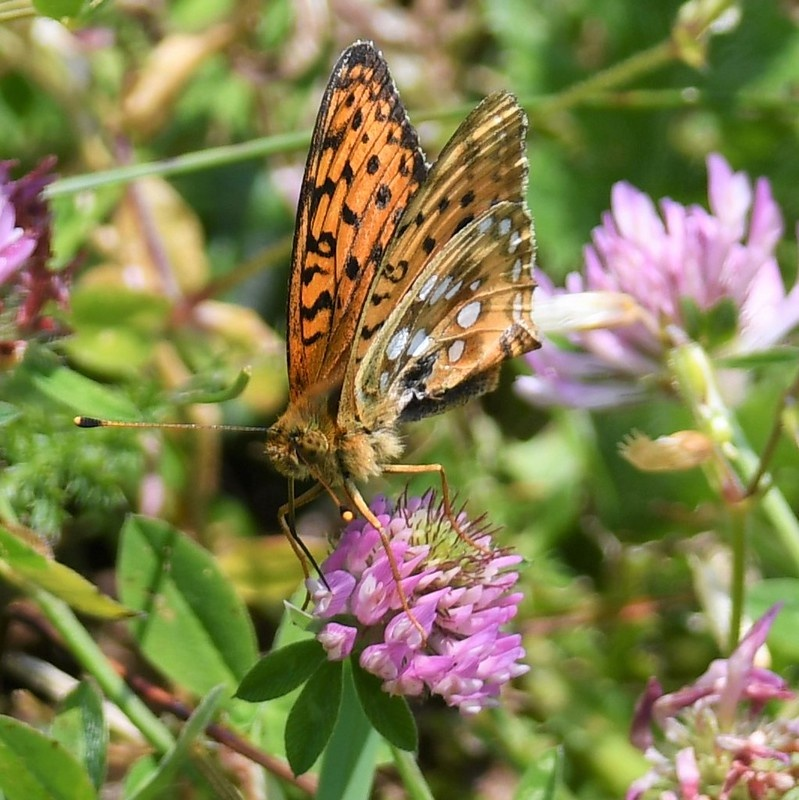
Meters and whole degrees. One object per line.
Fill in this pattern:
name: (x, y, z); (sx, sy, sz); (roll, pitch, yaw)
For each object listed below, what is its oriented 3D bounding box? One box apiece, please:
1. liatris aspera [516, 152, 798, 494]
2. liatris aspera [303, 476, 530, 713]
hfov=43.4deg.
liatris aspera: (0.383, -0.123, 1.454); (0.340, 0.361, 0.275); (-22, 50, -17)
liatris aspera: (0.037, 0.222, 1.117); (0.251, 0.165, 0.227); (23, 51, 22)
